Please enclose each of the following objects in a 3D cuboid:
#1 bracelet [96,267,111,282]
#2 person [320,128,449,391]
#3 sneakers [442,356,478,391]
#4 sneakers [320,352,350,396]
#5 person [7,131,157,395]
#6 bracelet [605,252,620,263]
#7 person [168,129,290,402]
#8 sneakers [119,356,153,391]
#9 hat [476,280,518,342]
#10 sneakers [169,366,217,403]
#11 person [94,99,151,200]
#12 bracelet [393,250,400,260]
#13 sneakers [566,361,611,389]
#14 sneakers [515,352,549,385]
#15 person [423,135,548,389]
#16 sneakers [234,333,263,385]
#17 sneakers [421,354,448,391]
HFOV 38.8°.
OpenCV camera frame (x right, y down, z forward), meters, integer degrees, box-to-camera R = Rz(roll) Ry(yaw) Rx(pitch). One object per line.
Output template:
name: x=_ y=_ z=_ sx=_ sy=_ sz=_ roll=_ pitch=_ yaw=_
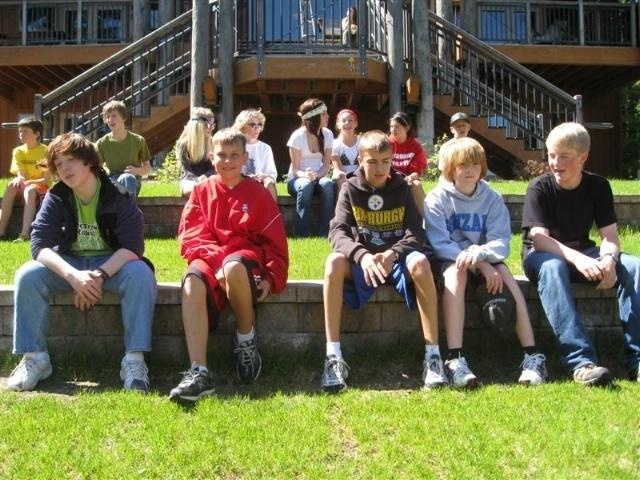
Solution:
bracelet: x=-1.809 y=0.288 z=7.555 sx=0.068 sy=0.109 sz=0.105 roll=-37 pitch=56 yaw=-19
person: x=0.516 y=0.124 z=7.747 sx=1.008 sy=2.107 sz=0.890 roll=0 pitch=3 yaw=2
sneakers: x=1.133 y=1.082 z=7.498 sx=0.172 sy=0.225 sz=0.476 roll=1 pitch=8 yaw=-19
sneakers: x=0.108 y=1.092 z=7.443 sx=0.215 sy=0.273 sz=0.219 roll=-1 pitch=3 yaw=-1
person: x=-1.984 y=0.161 z=7.605 sx=1.151 sy=2.079 sz=0.483 roll=-1 pitch=3 yaw=-8
bracelet: x=2.477 y=0.140 z=7.726 sx=0.068 sy=0.034 sz=0.093 roll=15 pitch=-29 yaw=-18
person: x=-0.792 y=0.149 z=7.709 sx=1.069 sy=2.168 sz=0.811 roll=-2 pitch=4 yaw=-29
sneakers: x=-1.523 y=1.078 z=7.430 sx=0.233 sy=0.277 sz=0.322 roll=-2 pitch=4 yaw=-15
hat: x=1.513 y=0.620 z=7.832 sx=0.324 sy=0.536 sz=0.389 roll=0 pitch=3 yaw=8
sneakers: x=-1.023 y=1.159 z=7.304 sx=0.198 sy=0.258 sz=0.539 roll=-7 pitch=-3 yaw=23
person: x=-2.259 y=-0.864 z=10.093 sx=0.533 sy=1.401 sz=0.846 roll=-4 pitch=4 yaw=6
bracelet: x=0.638 y=0.131 z=7.707 sx=0.047 sy=0.077 sz=0.021 roll=1 pitch=12 yaw=-13
sneakers: x=2.151 y=1.092 z=7.315 sx=0.307 sy=0.167 sz=0.134 roll=-11 pitch=-9 yaw=42
sneakers: x=1.741 y=1.055 z=7.467 sx=0.227 sy=0.225 sz=0.292 roll=0 pitch=4 yaw=15
person: x=1.316 y=0.060 z=7.643 sx=0.702 sy=1.613 sz=2.229 roll=2 pitch=17 yaw=-3
sneakers: x=-0.622 y=0.987 z=7.665 sx=0.183 sy=0.216 sz=0.588 roll=-8 pitch=27 yaw=-5
sneakers: x=0.949 y=1.073 z=7.517 sx=0.204 sy=0.257 sz=0.555 roll=-7 pitch=10 yaw=6
